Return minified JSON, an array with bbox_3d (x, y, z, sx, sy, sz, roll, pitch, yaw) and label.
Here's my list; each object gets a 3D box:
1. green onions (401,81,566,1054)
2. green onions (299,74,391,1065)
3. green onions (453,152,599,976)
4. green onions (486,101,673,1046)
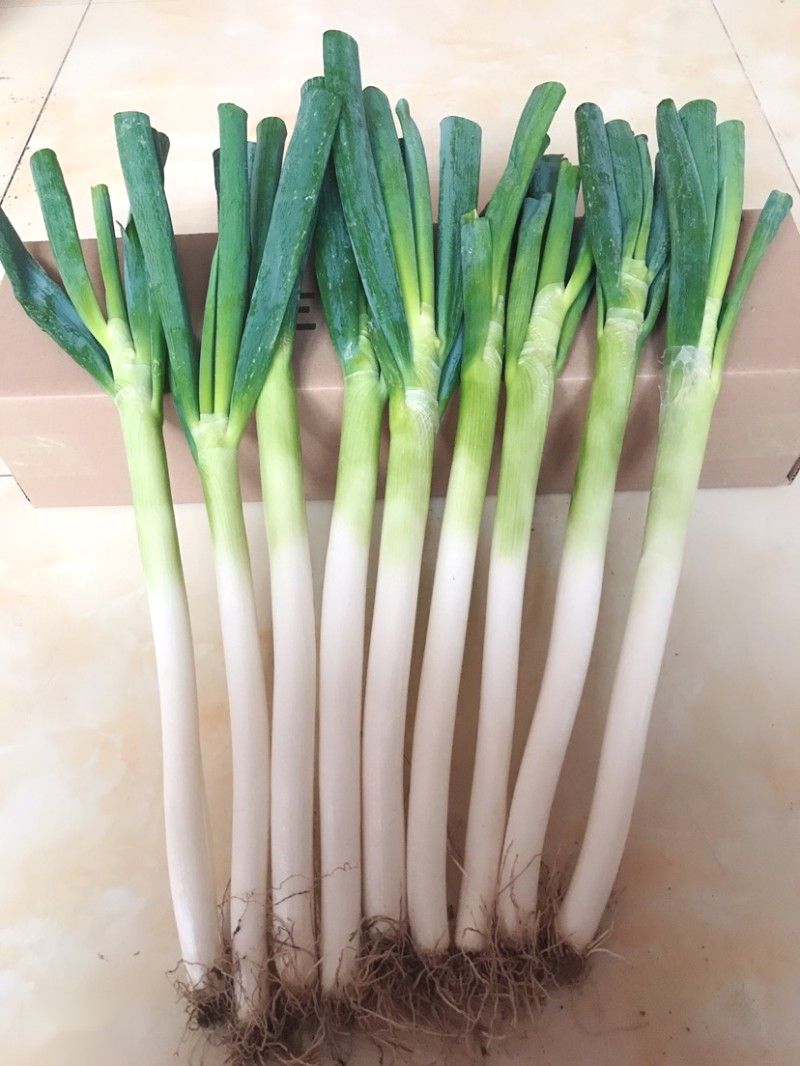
[{"bbox_3d":[0.070,-0.002,1.025,0.089,0.981,0.082,13,-10,-40],"label":"green onions"},{"bbox_3d":[-0.044,0.043,1.022,0.064,0.882,0.071,0,-12,8],"label":"green onions"},{"bbox_3d":[0.149,-0.110,1.077,0.087,1.048,0.099,9,-18,-9],"label":"green onions"},{"bbox_3d":[0.186,-0.069,1.087,0.134,1.102,0.121,17,-14,-41],"label":"green onions"}]
